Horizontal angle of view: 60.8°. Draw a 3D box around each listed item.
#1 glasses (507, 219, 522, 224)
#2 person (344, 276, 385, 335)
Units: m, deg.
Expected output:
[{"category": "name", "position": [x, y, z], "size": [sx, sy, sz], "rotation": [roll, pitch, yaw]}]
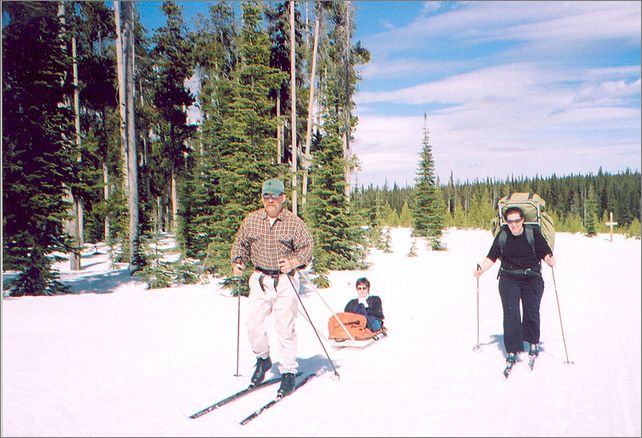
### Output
[{"category": "glasses", "position": [5.252, 0.040, 14.842], "size": [0.371, 0.170, 0.120], "rotation": [5, 15, 19]}, {"category": "person", "position": [1.334, 2.659, 16.959], "size": [1.054, 1.460, 0.999], "rotation": [-17, 8, -36]}]
